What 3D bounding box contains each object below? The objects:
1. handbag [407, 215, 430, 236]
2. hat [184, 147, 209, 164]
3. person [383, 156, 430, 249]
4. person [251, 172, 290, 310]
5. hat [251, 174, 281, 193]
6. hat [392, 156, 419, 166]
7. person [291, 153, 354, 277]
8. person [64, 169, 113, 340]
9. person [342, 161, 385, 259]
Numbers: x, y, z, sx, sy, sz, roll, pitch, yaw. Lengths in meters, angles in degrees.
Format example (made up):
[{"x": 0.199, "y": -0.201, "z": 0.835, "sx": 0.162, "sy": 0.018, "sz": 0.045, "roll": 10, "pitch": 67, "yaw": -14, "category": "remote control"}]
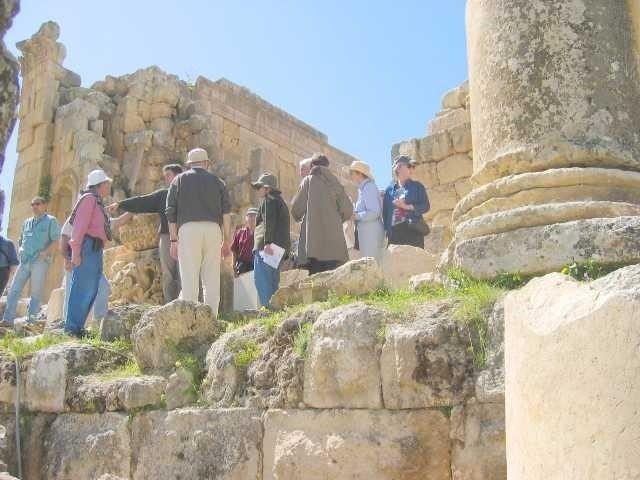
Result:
[{"x": 1.055, "y": -0.126, "z": 13.859, "sx": 0.304, "sy": 0.177, "sz": 0.125, "roll": 20, "pitch": -32, "yaw": -41, "category": "handbag"}, {"x": -1.295, "y": -0.835, "z": 13.869, "sx": 0.256, "sy": 0.237, "sz": 0.382, "roll": -3, "pitch": 6, "yaw": -4, "category": "hat"}, {"x": 0.887, "y": -0.343, "z": 13.933, "sx": 0.477, "sy": 1.218, "sz": 0.642, "roll": -3, "pitch": -22, "yaw": 2, "category": "person"}, {"x": -0.520, "y": 0.076, "z": 13.763, "sx": 0.420, "sy": 1.652, "sz": 0.594, "roll": -2, "pitch": -48, "yaw": 4, "category": "person"}, {"x": -0.563, "y": -0.572, "z": 13.891, "sx": 0.295, "sy": 0.185, "sz": 0.214, "roll": 5, "pitch": -4, "yaw": -11, "category": "hat"}, {"x": 0.848, "y": -0.796, "z": 14.047, "sx": 0.166, "sy": 0.107, "sz": 0.243, "roll": 4, "pitch": -6, "yaw": -34, "category": "hat"}, {"x": 0.019, "y": -0.246, "z": 13.631, "sx": 0.632, "sy": 1.191, "sz": 0.353, "roll": -1, "pitch": -22, "yaw": -4, "category": "person"}, {"x": -2.344, "y": 0.201, "z": 13.465, "sx": 0.440, "sy": 1.747, "sz": 0.669, "roll": 2, "pitch": -22, "yaw": -11, "category": "person"}, {"x": 0.444, "y": -0.218, "z": 13.928, "sx": 0.392, "sy": 1.455, "sz": 0.501, "roll": -1, "pitch": -28, "yaw": 6, "category": "person"}]
